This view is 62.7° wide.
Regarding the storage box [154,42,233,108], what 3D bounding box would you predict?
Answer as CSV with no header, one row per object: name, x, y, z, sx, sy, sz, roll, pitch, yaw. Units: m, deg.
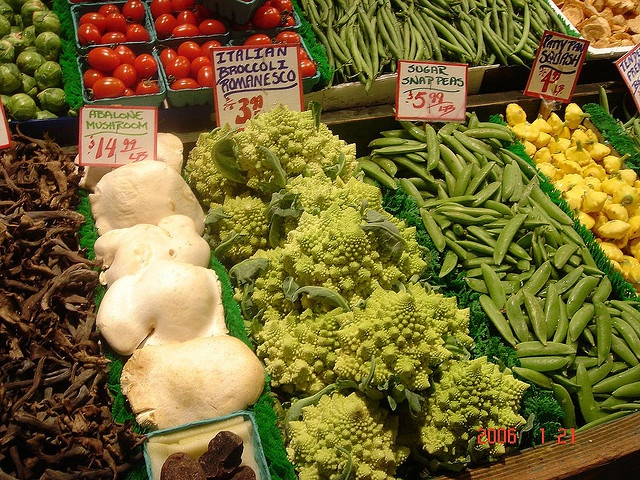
storage box,-0.908,-1.108,3.604,0.379,0.168,0.460,-6,55,-9

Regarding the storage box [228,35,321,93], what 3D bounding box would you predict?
storage box,-0.285,-1.110,3.366,0.505,0.138,0.470,-10,60,-10

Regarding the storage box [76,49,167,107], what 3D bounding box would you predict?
storage box,-1.313,-1.076,3.625,0.539,0.256,0.522,-5,54,-11
